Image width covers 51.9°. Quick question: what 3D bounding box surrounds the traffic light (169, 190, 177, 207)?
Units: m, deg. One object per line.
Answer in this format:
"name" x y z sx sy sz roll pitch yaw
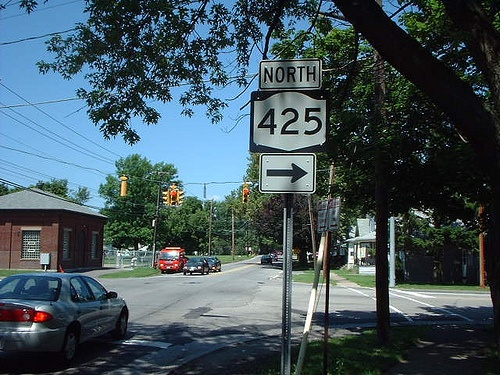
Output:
"traffic light" -4.691 0.553 32.472 0.481 0.826 0.607 0 -2 -22

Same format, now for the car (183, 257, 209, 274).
"car" -4.611 6.769 44.184 1.852 1.596 2.566 -2 -11 0

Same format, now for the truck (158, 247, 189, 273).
"truck" -7.196 6.804 48.016 2.144 2.511 3.078 -1 -11 -5
